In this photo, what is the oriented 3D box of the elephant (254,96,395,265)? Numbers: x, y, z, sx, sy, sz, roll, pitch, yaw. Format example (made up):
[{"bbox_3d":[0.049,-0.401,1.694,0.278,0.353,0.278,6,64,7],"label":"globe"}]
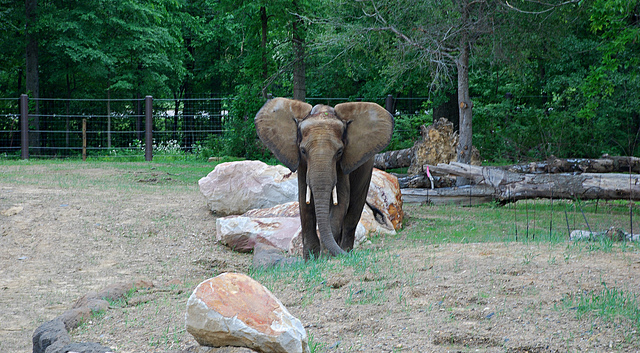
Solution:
[{"bbox_3d":[0.477,-0.017,18.424,2.976,3.544,4.962,-1,-4,8],"label":"elephant"}]
